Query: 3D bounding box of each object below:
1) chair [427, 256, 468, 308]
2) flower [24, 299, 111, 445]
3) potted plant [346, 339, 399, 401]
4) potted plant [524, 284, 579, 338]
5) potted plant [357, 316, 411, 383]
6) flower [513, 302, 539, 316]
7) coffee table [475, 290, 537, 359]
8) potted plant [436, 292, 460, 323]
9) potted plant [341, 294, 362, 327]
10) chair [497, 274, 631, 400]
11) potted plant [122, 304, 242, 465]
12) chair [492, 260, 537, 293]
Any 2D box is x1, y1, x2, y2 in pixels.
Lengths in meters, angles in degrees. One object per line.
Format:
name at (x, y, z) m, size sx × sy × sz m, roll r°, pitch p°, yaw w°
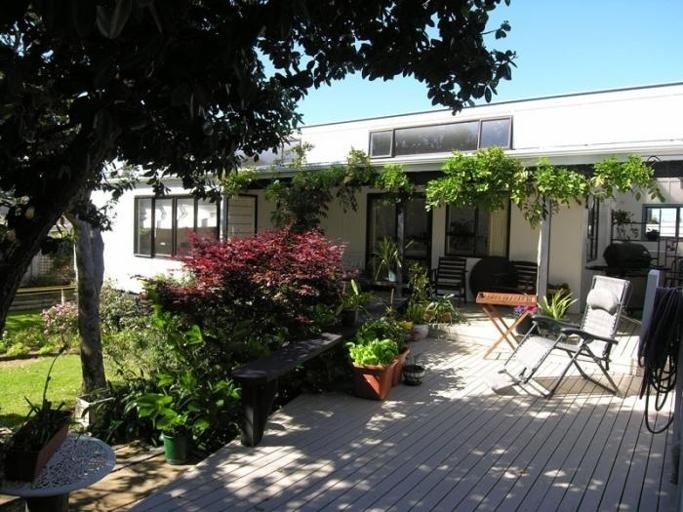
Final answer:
chair at (2.243, 0.553, 10.133) m, size 0.907 × 1.299 × 0.886 m, roll 1°, pitch 3°, yaw 26°
flower at (-4.066, 1.683, 7.034) m, size 1.174 × 2.342 × 0.910 m, roll 12°, pitch 15°, yaw 41°
potted plant at (0.404, 1.509, 5.733) m, size 0.448 × 0.389 × 1.129 m, roll 2°, pitch -11°, yaw 15°
potted plant at (3.259, 0.879, 7.378) m, size 0.608 × 0.728 × 0.491 m, roll 14°, pitch -9°, yaw 30°
potted plant at (0.621, 1.259, 6.341) m, size 0.661 × 0.827 × 0.835 m, roll 1°, pitch 5°, yaw 18°
flower at (2.761, 0.828, 7.081) m, size 0.282 × 0.225 × 0.297 m, roll -1°, pitch -3°, yaw 5°
coffee table at (2.430, 1.056, 6.983) m, size 0.742 × 0.845 × 0.422 m, roll 3°, pitch 8°, yaw 28°
potted plant at (1.934, 1.003, 8.664) m, size 0.432 × 0.450 × 0.587 m, roll 1°, pitch -5°, yaw -7°
potted plant at (0.130, 0.627, 5.881) m, size 0.253 × 0.340 × 0.466 m, roll 0°, pitch 6°, yaw 6°
chair at (2.583, 0.975, 5.680) m, size 1.400 × 1.354 × 0.924 m, roll -2°, pitch 4°, yaw -4°
potted plant at (-1.605, 1.207, 4.750) m, size 1.046 × 1.297 × 1.304 m, roll -2°, pitch 6°, yaw -26°
chair at (3.506, 0.431, 9.644) m, size 0.675 × 0.951 × 0.692 m, roll 1°, pitch 0°, yaw 41°
